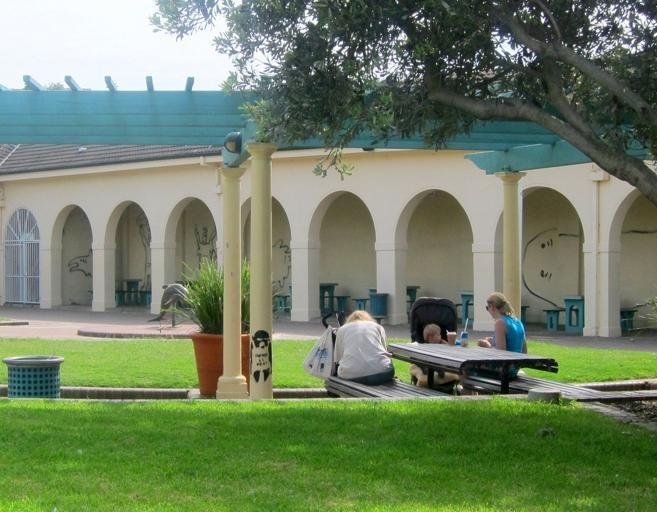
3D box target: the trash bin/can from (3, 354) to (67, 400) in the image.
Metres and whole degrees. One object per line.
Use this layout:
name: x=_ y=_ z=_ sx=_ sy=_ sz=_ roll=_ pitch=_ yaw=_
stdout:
trash bin/can: x=-3.776 y=1.557 z=11.579 sx=0.667 sy=0.533 sz=0.239 roll=-1 pitch=2 yaw=-8

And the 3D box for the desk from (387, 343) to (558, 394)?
desk: x=1.581 y=1.397 z=11.004 sx=1.102 sy=0.553 sz=2.277 roll=2 pitch=-1 yaw=-26

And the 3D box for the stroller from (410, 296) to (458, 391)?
stroller: x=1.466 y=1.154 z=12.361 sx=0.564 sy=1.212 sz=0.638 roll=0 pitch=3 yaw=-15

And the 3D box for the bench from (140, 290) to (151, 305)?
bench: x=-6.192 y=1.430 z=30.572 sx=0.308 sy=0.400 sz=0.868 roll=-1 pitch=2 yaw=-16

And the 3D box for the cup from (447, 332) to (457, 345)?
cup: x=1.580 y=1.036 z=11.554 sx=0.121 sy=0.138 sz=0.129 roll=0 pitch=-7 yaw=0

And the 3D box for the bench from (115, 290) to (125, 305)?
bench: x=-6.913 y=1.410 z=29.964 sx=0.274 sy=0.445 sz=0.725 roll=-1 pitch=2 yaw=-11
